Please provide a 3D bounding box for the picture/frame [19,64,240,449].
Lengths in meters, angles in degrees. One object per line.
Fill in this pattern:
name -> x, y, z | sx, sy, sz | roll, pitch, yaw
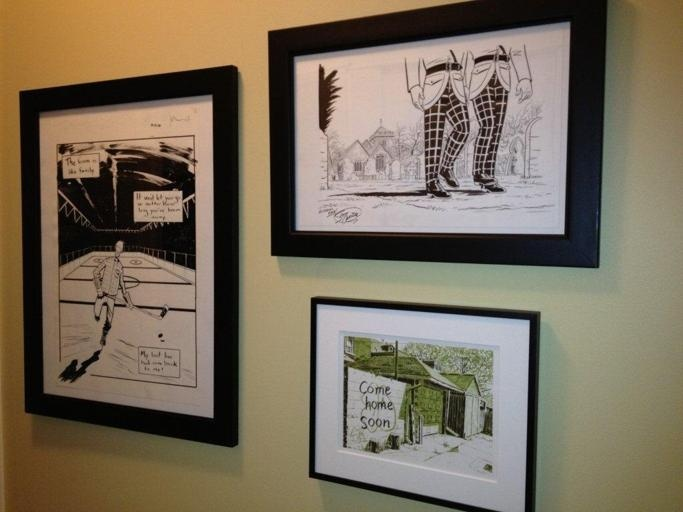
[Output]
picture/frame -> -0.532, -0.021, 1.657 | 0.867, 1.252, 0.064 | 3, 5, 23
